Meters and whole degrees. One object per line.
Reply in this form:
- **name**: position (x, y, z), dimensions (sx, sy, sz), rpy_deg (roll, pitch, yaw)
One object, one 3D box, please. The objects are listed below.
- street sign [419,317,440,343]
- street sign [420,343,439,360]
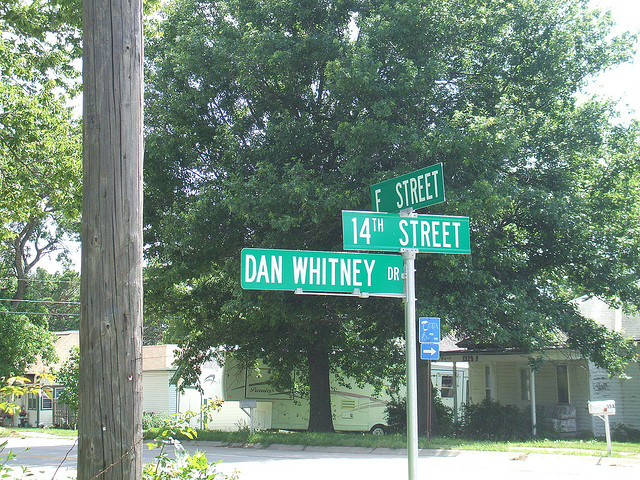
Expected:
- **street sign**: position (3.011, 2.506, 25.895), dimensions (0.107, 0.860, 0.746), rpy_deg (6, -7, -36)
- **street sign**: position (3.059, 3.120, 26.264), dimensions (0.633, 0.632, 0.091), rpy_deg (0, 2, -2)
